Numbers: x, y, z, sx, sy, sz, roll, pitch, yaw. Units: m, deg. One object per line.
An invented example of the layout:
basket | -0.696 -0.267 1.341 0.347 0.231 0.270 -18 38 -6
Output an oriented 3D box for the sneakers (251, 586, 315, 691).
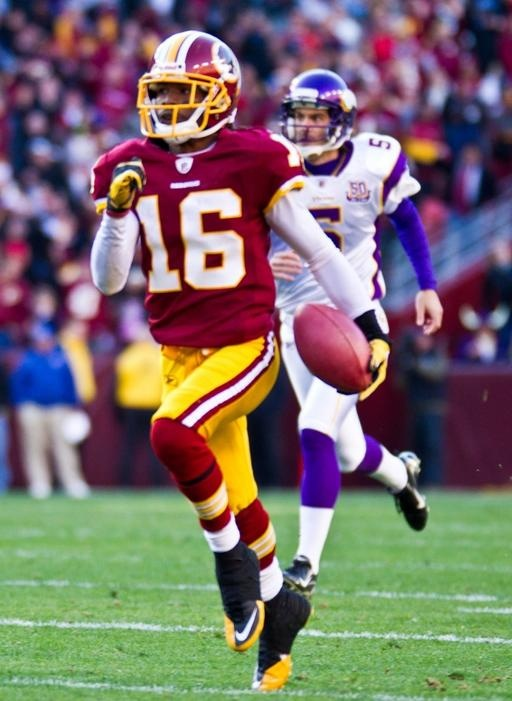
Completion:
sneakers | 0.055 0.610 1.962 0.082 0.108 0.225 6 52 25

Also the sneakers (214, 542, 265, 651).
sneakers | -0.026 0.481 1.827 0.089 0.212 0.104 -13 -5 15

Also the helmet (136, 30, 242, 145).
helmet | -0.157 -0.602 2.063 0.220 0.207 0.267 9 28 18

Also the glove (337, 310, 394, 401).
glove | 0.266 0.014 2.014 0.071 0.170 0.144 -2 2 -18

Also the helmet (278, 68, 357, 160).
helmet | 0.232 -0.796 3.010 0.283 0.228 0.211 -18 31 -23

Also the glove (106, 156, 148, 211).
glove | -0.236 -0.326 1.768 0.069 0.100 0.042 31 11 19

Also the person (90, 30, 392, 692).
person | -0.011 0.036 2.005 0.602 1.317 0.979 -9 31 -8

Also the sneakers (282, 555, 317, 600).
sneakers | 0.120 0.605 2.467 0.052 0.143 0.091 -14 53 28
